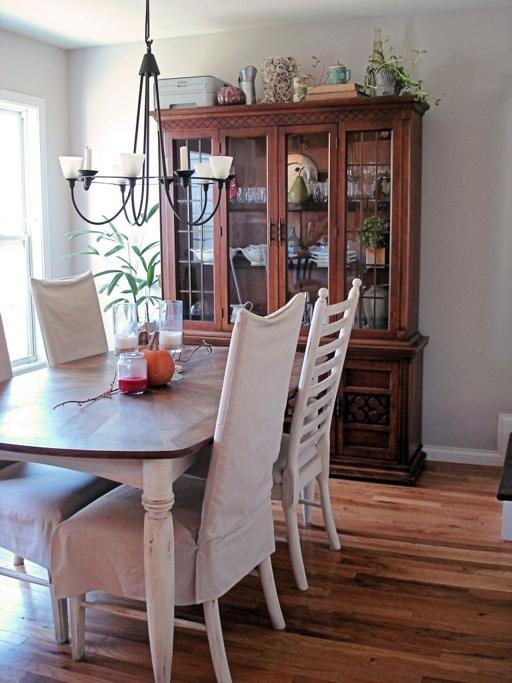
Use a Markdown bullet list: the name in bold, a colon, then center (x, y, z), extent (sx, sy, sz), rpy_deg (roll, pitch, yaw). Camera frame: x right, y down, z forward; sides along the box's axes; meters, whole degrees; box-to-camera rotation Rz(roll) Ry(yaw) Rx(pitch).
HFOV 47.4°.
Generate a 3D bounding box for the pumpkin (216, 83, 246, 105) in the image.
- **pumpkin**: center (-0.135, -1.323, 3.170), extent (0.125, 0.112, 0.125), rpy_deg (-14, 19, -35)

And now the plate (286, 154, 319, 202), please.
- **plate**: center (0.252, -0.869, 3.103), extent (0.211, 0.220, 0.055), rpy_deg (25, 20, 14)

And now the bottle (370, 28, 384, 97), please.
- **bottle**: center (0.610, -1.421, 2.969), extent (0.065, 0.384, 0.231), rpy_deg (0, 4, 11)

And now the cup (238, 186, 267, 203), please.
- **cup**: center (-0.030, -0.785, 3.173), extent (0.100, 0.057, 0.113), rpy_deg (-9, 14, -40)

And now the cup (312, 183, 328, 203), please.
- **cup**: center (0.334, -0.770, 3.029), extent (0.088, 0.108, 0.092), rpy_deg (-2, 6, 0)

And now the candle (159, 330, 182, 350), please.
- **candle**: center (-0.321, -0.004, 2.165), extent (0.070, 0.055, 0.073), rpy_deg (3, 5, 21)

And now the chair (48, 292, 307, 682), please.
- **chair**: center (-0.152, 0.360, 2.035), extent (0.795, 1.459, 0.974), rpy_deg (4, 5, 20)

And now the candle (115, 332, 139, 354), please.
- **candle**: center (-0.457, 0.004, 2.062), extent (0.076, 0.067, 0.076), rpy_deg (-2, 3, -29)

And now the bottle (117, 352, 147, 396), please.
- **bottle**: center (-0.370, 0.096, 1.758), extent (0.109, 0.157, 0.108), rpy_deg (0, 5, 0)

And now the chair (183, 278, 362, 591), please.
- **chair**: center (0.003, 0.320, 2.068), extent (0.611, 0.984, 0.585), rpy_deg (1, 6, 7)
